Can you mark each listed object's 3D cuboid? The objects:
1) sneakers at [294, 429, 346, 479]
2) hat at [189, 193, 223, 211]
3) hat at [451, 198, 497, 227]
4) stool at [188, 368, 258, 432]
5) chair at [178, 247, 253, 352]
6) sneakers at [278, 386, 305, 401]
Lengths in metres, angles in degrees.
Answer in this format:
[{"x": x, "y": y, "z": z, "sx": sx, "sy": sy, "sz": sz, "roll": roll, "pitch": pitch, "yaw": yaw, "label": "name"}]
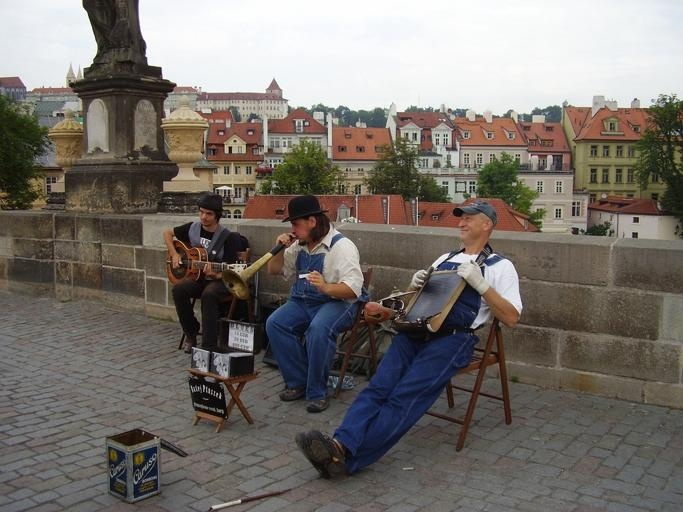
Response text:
[{"x": -0.136, "y": 1.455, "z": 5.866, "sx": 0.260, "sy": 0.414, "sz": 0.192, "roll": -48, "pitch": -4, "yaw": 38, "label": "sneakers"}, {"x": -1.417, "y": -0.570, "z": 8.544, "sx": 0.191, "sy": 0.135, "sz": 0.249, "roll": 7, "pitch": -4, "yaw": -25, "label": "hat"}, {"x": 1.116, "y": -0.381, "z": 6.620, "sx": 0.323, "sy": 0.153, "sz": 0.212, "roll": 17, "pitch": 1, "yaw": -5, "label": "hat"}, {"x": -1.016, "y": 1.229, "z": 6.848, "sx": 0.551, "sy": 0.436, "sz": 0.450, "roll": -2, "pitch": -2, "yaw": 42, "label": "stool"}, {"x": -1.391, "y": 0.402, "z": 8.572, "sx": 0.650, "sy": 1.252, "sz": 0.749, "roll": -5, "pitch": 6, "yaw": -38, "label": "chair"}, {"x": -0.446, "y": 1.279, "z": 7.377, "sx": 0.285, "sy": 0.112, "sz": 0.094, "roll": 6, "pitch": -4, "yaw": -31, "label": "sneakers"}]
